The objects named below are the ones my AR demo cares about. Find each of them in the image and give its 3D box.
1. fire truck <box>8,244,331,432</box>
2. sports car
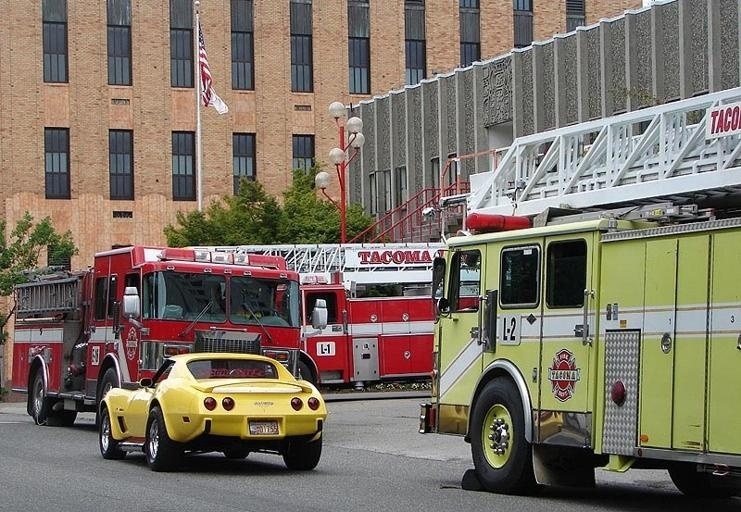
[{"bbox_3d":[-5.444,2.113,29.225,4.267,3.969,9.576,6,-8,-32],"label":"fire truck"},{"bbox_3d":[-3.200,2.983,23.525,3.150,2.109,5.812,4,-6,-27],"label":"sports car"}]
